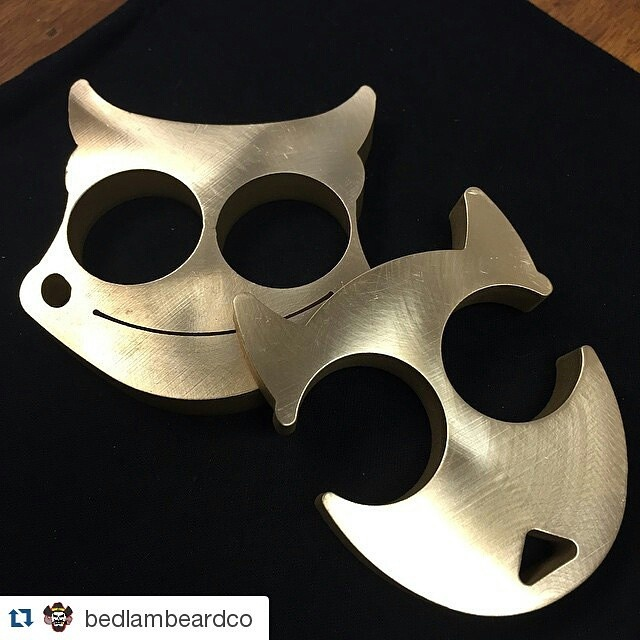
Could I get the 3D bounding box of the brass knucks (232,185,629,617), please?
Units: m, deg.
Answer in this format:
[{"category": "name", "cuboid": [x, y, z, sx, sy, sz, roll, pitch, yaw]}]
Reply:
[{"category": "brass knucks", "cuboid": [0.210, 0.144, 1.377, 0.507, 0.188, 0.610, -29, 71, -12]}]
